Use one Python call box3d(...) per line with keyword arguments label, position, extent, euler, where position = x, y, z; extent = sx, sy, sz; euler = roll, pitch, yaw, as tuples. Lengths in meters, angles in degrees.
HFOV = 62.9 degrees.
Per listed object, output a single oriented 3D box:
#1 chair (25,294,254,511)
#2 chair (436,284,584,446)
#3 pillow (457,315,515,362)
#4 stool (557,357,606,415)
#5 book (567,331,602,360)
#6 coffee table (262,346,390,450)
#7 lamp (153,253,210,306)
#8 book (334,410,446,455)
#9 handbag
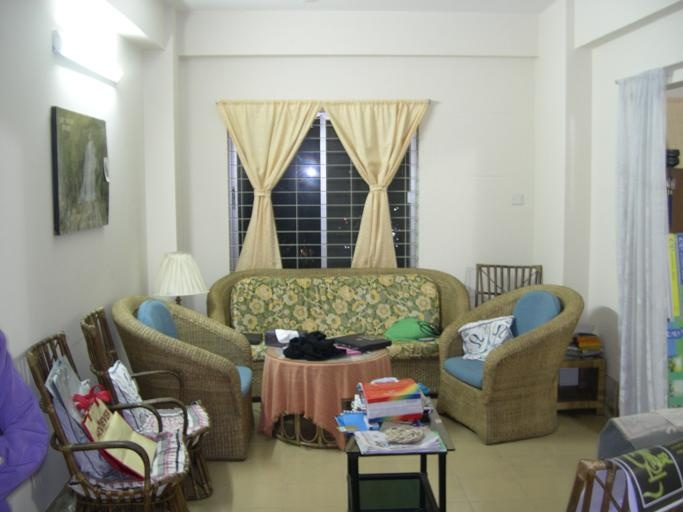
box3d(label="chair", position=(-1.059, 0.835, 3.262), extent=(1.008, 1.292, 1.076), euler=(-3, 1, 10))
box3d(label="chair", position=(1.225, 0.755, 4.130), extent=(0.945, 1.026, 0.757), euler=(-2, 3, -18))
box3d(label="pillow", position=(1.096, 0.596, 4.198), extent=(0.318, 0.334, 0.101), euler=(-13, -24, 22))
box3d(label="stool", position=(1.815, 0.960, 4.308), extent=(0.389, 0.431, 0.407), euler=(1, -2, 1))
box3d(label="book", position=(1.861, 0.694, 4.308), extent=(0.196, 0.085, 0.213), euler=(-2, 1, -2))
box3d(label="coffee table", position=(-0.175, 0.846, 3.700), extent=(0.627, 0.454, 0.687), euler=(0, -2, 3))
box3d(label="lamp", position=(-1.243, 0.237, 4.300), extent=(0.357, 0.494, 0.416), euler=(-4, 9, 12))
box3d(label="book", position=(0.228, 0.869, 2.708), extent=(0.554, 0.105, 0.310), euler=(-1, 2, 13))
box3d(label="handbag", position=(-1.152, 0.884, 2.872), extent=(0.355, 0.463, 0.435), euler=(2, 7, -9))
